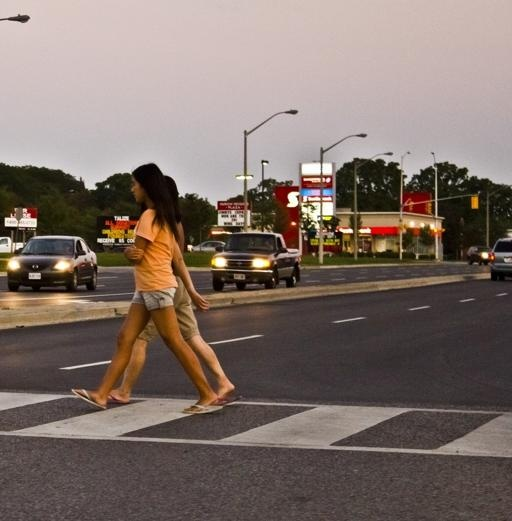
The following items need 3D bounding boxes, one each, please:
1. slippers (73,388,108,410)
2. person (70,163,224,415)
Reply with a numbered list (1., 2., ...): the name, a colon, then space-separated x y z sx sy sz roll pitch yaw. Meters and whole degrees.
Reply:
1. slippers: -1.475 1.253 6.495 0.264 0.073 0.102 36 -12 -26
2. person: -0.884 0.259 6.395 1.162 2.221 0.627 -1 2 -15
